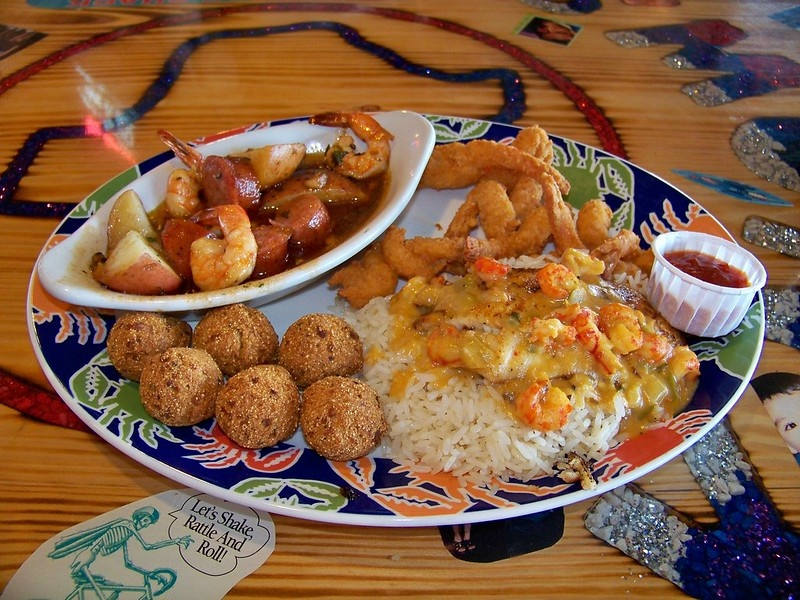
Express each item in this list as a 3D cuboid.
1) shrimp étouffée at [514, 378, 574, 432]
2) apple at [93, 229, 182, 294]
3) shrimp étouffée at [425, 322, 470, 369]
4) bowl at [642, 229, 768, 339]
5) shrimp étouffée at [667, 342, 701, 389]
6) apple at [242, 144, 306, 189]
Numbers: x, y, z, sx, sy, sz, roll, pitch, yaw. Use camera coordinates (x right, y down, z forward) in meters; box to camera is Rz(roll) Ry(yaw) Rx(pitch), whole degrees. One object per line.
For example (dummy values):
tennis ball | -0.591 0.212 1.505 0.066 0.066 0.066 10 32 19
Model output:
shrimp étouffée | 0.691 0.516 3.562 0.256 0.168 0.215 25 61 11
apple | -1.352 -0.156 3.770 0.363 0.142 0.309 10 91 3
shrimp étouffée | 0.241 0.223 3.799 0.217 0.130 0.211 20 81 18
bowl | 1.605 -0.070 3.914 0.584 0.362 0.577 7 35 -5
shrimp étouffée | 1.399 0.320 3.632 0.144 0.090 0.177 -4 84 -3
apple | -0.739 -0.834 4.313 0.293 0.278 0.118 -47 43 -3
